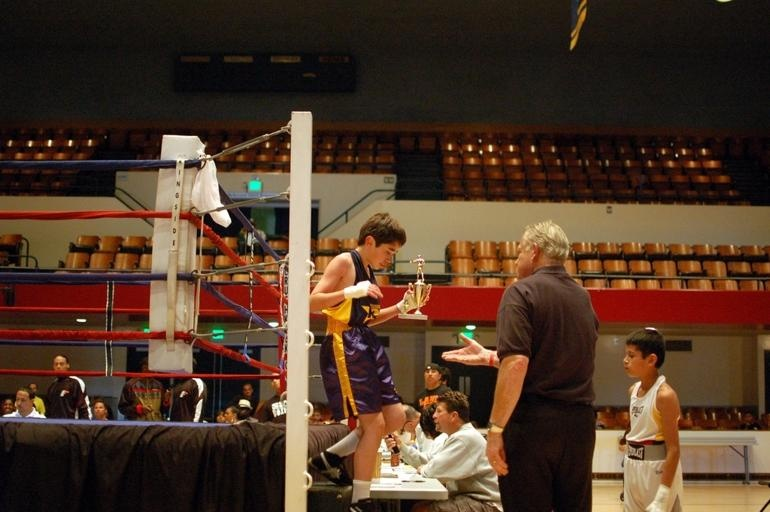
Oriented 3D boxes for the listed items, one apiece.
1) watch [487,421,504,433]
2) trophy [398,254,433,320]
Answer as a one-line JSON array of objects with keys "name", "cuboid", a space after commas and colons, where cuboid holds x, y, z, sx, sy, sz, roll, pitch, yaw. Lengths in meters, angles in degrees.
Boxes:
[{"name": "watch", "cuboid": [1.020, 1.588, 6.986, 0.118, 0.064, 0.100, 9, -14, -13]}, {"name": "trophy", "cuboid": [0.343, 0.323, 7.646, 0.317, 0.601, 0.271, 1, 0, 10]}]
